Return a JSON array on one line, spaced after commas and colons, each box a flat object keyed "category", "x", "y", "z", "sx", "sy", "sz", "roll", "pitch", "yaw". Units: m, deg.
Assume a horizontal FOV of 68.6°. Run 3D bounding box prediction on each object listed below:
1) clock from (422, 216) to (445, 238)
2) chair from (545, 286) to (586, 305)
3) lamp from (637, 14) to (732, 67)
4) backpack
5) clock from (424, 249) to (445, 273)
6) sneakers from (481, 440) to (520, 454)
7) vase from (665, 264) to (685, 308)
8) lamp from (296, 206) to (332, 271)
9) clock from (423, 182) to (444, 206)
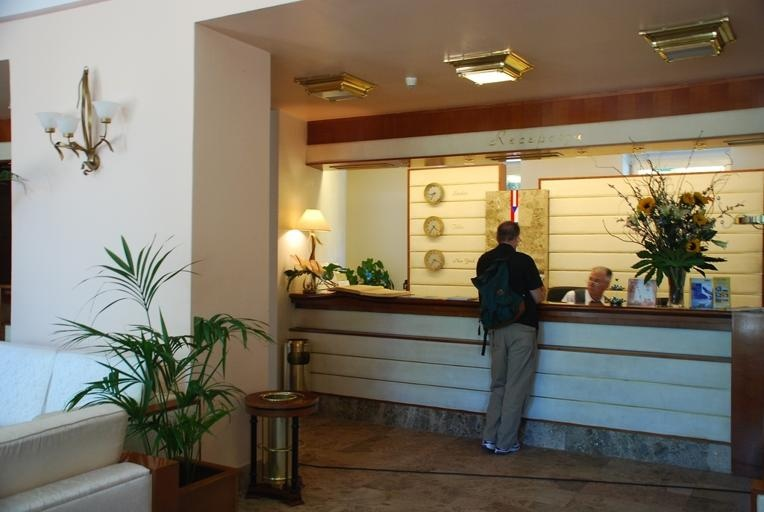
[{"category": "clock", "x": 0.869, "y": -0.501, "z": 9.313, "sx": 0.335, "sy": 0.341, "sz": 0.081, "roll": 4, "pitch": 5, "yaw": 31}, {"category": "chair", "x": 2.344, "y": 0.479, "z": 7.312, "sx": 0.279, "sy": 0.362, "sz": 0.304, "roll": 6, "pitch": -4, "yaw": -35}, {"category": "lamp", "x": 2.572, "y": -1.839, "z": 4.694, "sx": 0.726, "sy": 0.239, "sz": 0.450, "roll": 2, "pitch": 4, "yaw": 24}, {"category": "backpack", "x": 1.163, "y": 0.375, "z": 5.525, "sx": 0.496, "sy": 0.697, "sz": 0.180, "roll": 1, "pitch": 3, "yaw": 10}, {"category": "clock", "x": 0.820, "y": 0.046, "z": 9.241, "sx": 0.328, "sy": 0.334, "sz": 0.081, "roll": 2, "pitch": -1, "yaw": 31}, {"category": "sneakers", "x": 1.202, "y": 1.926, "z": 5.644, "sx": 0.373, "sy": 0.171, "sz": 0.135, "roll": -2, "pitch": 2, "yaw": -25}, {"category": "vase", "x": 2.941, "y": 0.282, "z": 5.574, "sx": 0.138, "sy": 0.378, "sz": 0.211, "roll": 2, "pitch": 4, "yaw": 28}, {"category": "lamp", "x": -0.862, "y": -0.241, "z": 7.382, "sx": 0.386, "sy": 0.767, "sz": 0.884, "roll": 0, "pitch": 4, "yaw": 1}, {"category": "clock", "x": 0.869, "y": -1.060, "z": 9.330, "sx": 0.337, "sy": 0.339, "sz": 0.079, "roll": 25, "pitch": 13, "yaw": 25}]
